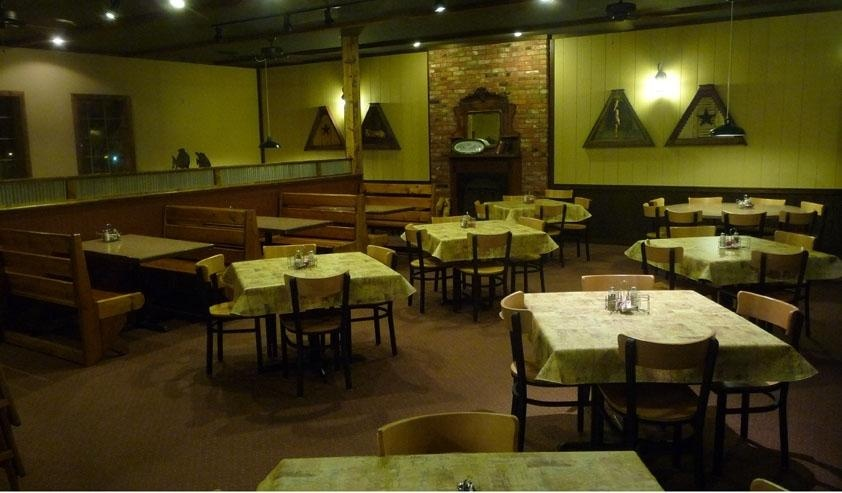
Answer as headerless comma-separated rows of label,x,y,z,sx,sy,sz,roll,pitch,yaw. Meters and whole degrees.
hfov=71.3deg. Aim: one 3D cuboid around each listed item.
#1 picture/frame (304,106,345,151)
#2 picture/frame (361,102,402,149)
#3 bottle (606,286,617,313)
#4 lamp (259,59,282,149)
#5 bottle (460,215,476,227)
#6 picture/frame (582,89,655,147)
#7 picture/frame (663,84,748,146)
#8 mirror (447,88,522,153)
picture/frame,-2.490,-3.073,15.053,0.186,1.159,1.424,5,12,43
picture/frame,-1.133,-2.896,14.390,1.504,1.167,0.664,1,0,0
bottle,1.849,0.498,5.697,0.106,0.197,0.204,1,12,16
lamp,-4.118,-3.763,15.647,0.540,2.292,0.543,-4,5,-26
bottle,0.696,-0.391,8.787,0.232,0.196,0.214,1,8,-1
picture/frame,4.103,-2.667,12.022,1.381,1.001,0.205,2,10,23
picture/frame,5.511,-2.538,11.421,1.547,1.104,0.133,-2,7,0
mirror,1.374,-2.708,13.127,1.891,1.585,0.181,-9,13,-25
